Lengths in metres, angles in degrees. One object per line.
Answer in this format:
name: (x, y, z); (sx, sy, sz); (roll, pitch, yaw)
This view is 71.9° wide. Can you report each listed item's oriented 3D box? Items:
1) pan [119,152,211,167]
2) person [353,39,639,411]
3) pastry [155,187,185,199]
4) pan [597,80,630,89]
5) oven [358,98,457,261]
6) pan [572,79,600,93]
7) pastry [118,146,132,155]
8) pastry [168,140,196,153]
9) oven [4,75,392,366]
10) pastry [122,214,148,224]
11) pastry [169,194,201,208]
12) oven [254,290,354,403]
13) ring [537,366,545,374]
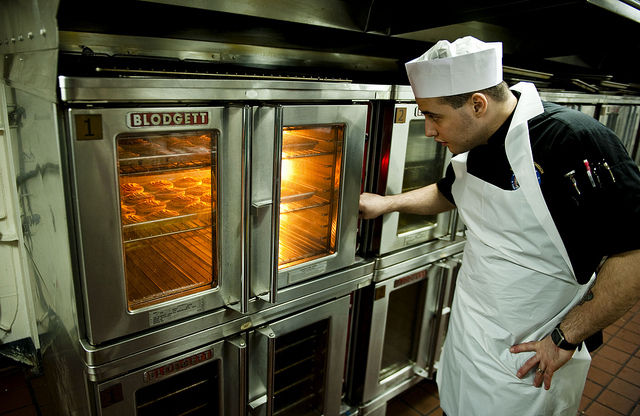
pan: (-0.770, -0.241, 2.225); (0.433, 0.060, 0.138); (-7, 14, -23)
person: (1.072, 0.209, 2.415); (1.105, 2.163, 0.525); (12, 19, 42)
pastry: (-0.829, -0.082, 2.442); (0.082, 0.023, 0.079); (2, 20, -2)
pan: (2.965, -1.232, 4.479); (0.641, 0.079, 0.083); (-12, 17, -38)
oven: (0.541, -0.204, 2.864); (0.682, 0.961, 0.723); (18, 30, 41)
pan: (2.466, -1.132, 4.139); (0.142, 0.031, 0.136); (-6, 23, -43)
pastry: (-0.990, -0.284, 2.224); (0.046, 0.043, 0.012); (-4, -4, 2)
pastry: (-0.715, -0.316, 2.292); (0.094, 0.022, 0.085); (-22, 38, -40)
oven: (-0.576, -0.013, 2.488); (1.777, 1.349, 0.538); (-7, 15, -22)
pastry: (-0.956, 0.059, 2.287); (0.109, 0.025, 0.153); (-6, 14, -22)
pastry: (-0.742, -0.050, 2.431); (0.094, 0.028, 0.093); (7, 12, 30)
oven: (-0.139, 0.963, 2.833); (0.710, 0.778, 0.269); (-13, 18, -40)
ring: (1.161, 0.847, 2.327); (0.034, 0.030, 0.012); (6, 16, 29)
